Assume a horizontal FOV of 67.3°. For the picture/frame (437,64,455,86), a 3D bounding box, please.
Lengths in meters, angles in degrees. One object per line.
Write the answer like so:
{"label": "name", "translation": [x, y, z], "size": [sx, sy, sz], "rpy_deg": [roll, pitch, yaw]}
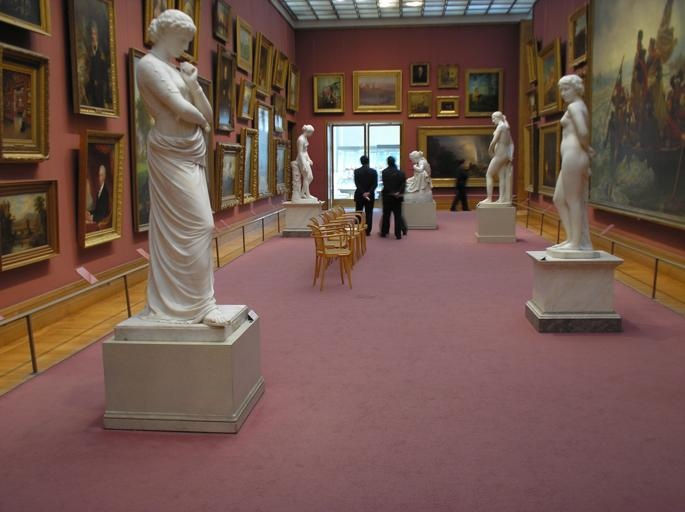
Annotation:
{"label": "picture/frame", "translation": [4.650, -8.128, 22.924], "size": [0.731, 0.999, 0.069], "rpy_deg": [0, 7, 0]}

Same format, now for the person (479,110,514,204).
{"label": "person", "translation": [4.504, -2.782, 14.723], "size": [0.743, 2.589, 1.510], "rpy_deg": [4, 12, 18]}

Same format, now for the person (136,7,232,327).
{"label": "person", "translation": [-1.483, -0.825, 4.703], "size": [0.732, 2.738, 0.576], "rpy_deg": [2, 11, 10]}

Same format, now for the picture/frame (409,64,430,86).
{"label": "picture/frame", "translation": [3.487, -8.137, 23.001], "size": [0.742, 1.009, 0.092], "rpy_deg": [0, 5, 1]}

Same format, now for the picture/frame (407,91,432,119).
{"label": "picture/frame", "translation": [3.538, -6.890, 23.196], "size": [0.931, 1.222, 0.118], "rpy_deg": [1, 7, 1]}

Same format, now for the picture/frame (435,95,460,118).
{"label": "picture/frame", "translation": [4.732, -6.703, 23.136], "size": [1.001, 0.923, 0.166], "rpy_deg": [2, 11, 10]}

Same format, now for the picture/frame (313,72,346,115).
{"label": "picture/frame", "translation": [-0.544, -7.494, 23.434], "size": [1.402, 2.103, 0.156], "rpy_deg": [0, 6, 3]}

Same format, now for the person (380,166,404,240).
{"label": "person", "translation": [1.473, -1.712, 15.085], "size": [0.692, 2.372, 1.116], "rpy_deg": [1, 12, 4]}

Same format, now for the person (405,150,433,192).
{"label": "person", "translation": [2.552, -2.800, 17.667], "size": [0.967, 1.604, 1.026], "rpy_deg": [5, 10, 34]}

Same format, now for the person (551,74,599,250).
{"label": "person", "translation": [3.200, -1.286, 7.075], "size": [0.563, 2.335, 0.647], "rpy_deg": [5, 12, 24]}

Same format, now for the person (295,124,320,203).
{"label": "person", "translation": [-1.214, -3.082, 16.744], "size": [0.536, 2.298, 1.597], "rpy_deg": [-1, 12, -5]}
